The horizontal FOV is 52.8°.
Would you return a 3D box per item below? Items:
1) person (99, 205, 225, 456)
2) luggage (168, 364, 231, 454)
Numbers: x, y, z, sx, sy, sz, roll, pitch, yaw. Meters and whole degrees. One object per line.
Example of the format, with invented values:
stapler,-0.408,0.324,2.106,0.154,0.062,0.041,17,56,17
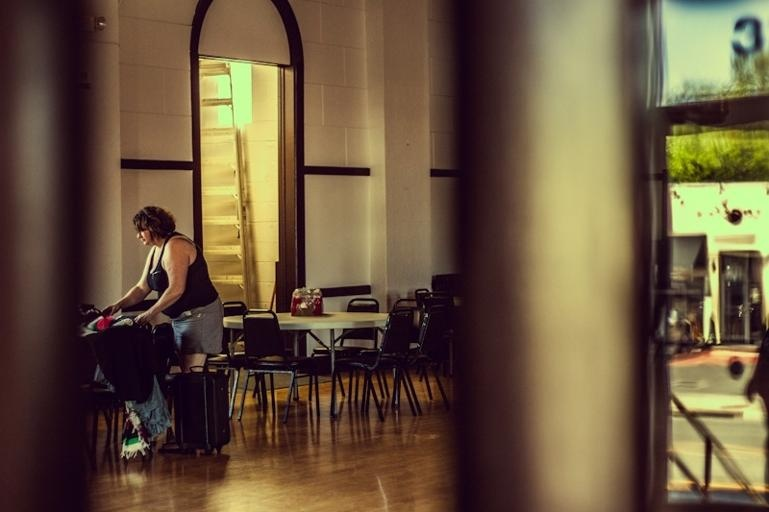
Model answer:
person,-1.855,0.593,6.403,0.913,1.911,0.998,-4,4,14
luggage,-1.503,1.294,6.403,0.354,0.641,0.350,-2,-2,20
